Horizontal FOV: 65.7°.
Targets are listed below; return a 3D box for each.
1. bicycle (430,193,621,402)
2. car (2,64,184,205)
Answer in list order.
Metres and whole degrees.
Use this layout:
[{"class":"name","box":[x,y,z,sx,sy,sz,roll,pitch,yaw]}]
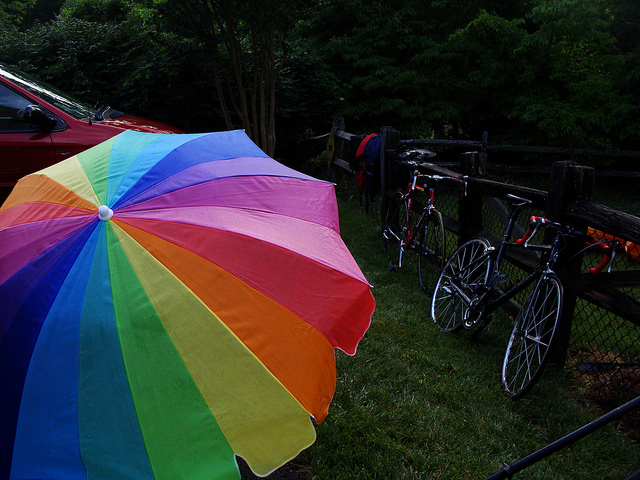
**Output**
[{"class":"bicycle","box":[1.638,0.404,4.682,0.695,1.491,2.174,27,9,-11]},{"class":"car","box":[-3.030,-1.311,5.977,2.427,1.335,1.565,-5,22,-3]}]
